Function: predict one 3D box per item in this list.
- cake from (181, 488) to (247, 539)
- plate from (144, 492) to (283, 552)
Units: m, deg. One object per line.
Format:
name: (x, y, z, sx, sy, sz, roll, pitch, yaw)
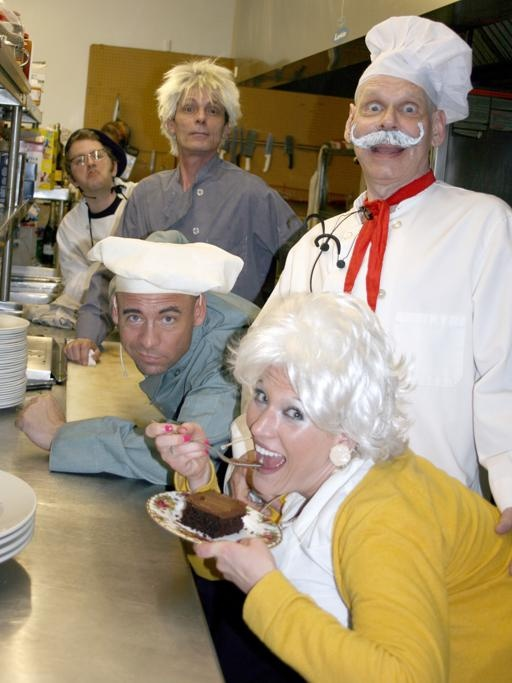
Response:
cake: (-0.072, 0.283, 0.938, 0.072, 0.041, 0.089, 2, 7, -41)
plate: (-0.074, 0.285, 0.922, 0.132, 0.018, 0.129, 1, 16, -28)
